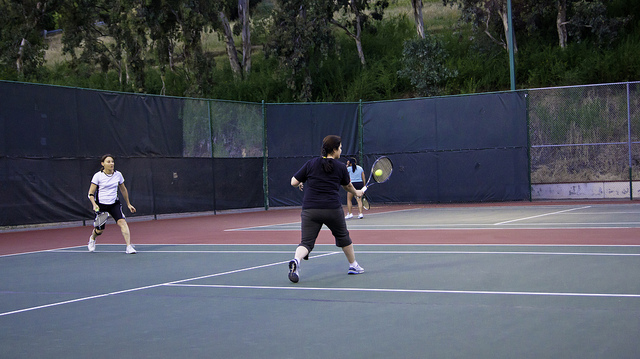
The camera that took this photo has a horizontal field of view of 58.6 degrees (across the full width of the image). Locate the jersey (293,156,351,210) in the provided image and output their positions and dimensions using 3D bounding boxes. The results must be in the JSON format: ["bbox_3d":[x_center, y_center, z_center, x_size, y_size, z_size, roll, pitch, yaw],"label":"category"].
[{"bbox_3d":[0.086,0.154,15.249,1.500,1.399,1.063,2,1,2],"label":"jersey"}]

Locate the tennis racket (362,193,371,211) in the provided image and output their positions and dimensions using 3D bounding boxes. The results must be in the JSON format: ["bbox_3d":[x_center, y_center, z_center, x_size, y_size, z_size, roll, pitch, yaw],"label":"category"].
[{"bbox_3d":[2.139,1.040,25.892,0.144,0.481,0.975,-46,10,14],"label":"tennis racket"}]

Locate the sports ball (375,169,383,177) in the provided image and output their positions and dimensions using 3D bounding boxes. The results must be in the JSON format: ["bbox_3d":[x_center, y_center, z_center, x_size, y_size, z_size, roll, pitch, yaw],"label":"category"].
[{"bbox_3d":[2.221,-0.229,20.930,0.249,0.248,0.279,24,-13,-38],"label":"sports ball"}]

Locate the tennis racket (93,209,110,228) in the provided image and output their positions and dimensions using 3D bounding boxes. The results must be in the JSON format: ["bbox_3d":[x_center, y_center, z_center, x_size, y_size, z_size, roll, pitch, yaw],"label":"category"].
[{"bbox_3d":[-7.027,1.281,18.458,0.425,0.618,0.222,15,-3,-6],"label":"tennis racket"}]

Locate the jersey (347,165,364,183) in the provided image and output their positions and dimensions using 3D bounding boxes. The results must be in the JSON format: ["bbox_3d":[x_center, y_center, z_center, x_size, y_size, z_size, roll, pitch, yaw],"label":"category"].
[{"bbox_3d":[1.538,-0.211,24.174,0.953,0.932,0.558,0,7,-2],"label":"jersey"}]
